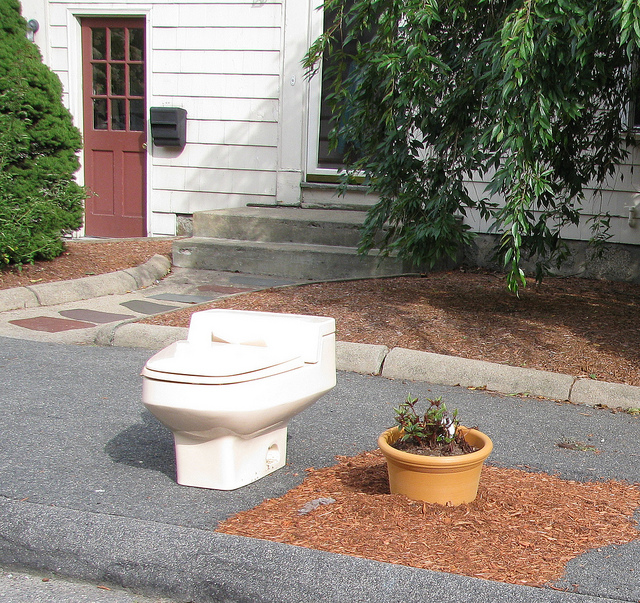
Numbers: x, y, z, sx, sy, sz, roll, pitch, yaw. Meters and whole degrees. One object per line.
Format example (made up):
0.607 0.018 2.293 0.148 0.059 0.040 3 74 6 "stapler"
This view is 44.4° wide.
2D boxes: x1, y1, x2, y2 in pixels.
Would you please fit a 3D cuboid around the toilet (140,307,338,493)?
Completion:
-0.389 0.503 3.982 0.568 0.810 0.879 9 17 29 "toilet"

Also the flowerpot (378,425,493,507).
0.516 0.683 3.662 0.411 0.247 0.400 3 10 18 "flowerpot"
